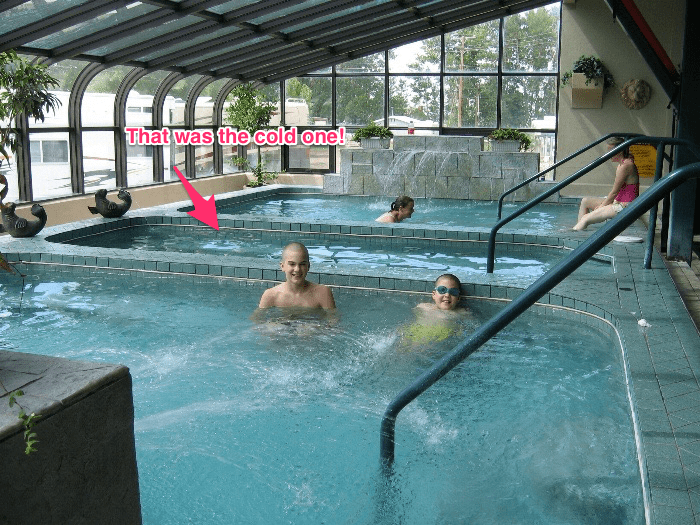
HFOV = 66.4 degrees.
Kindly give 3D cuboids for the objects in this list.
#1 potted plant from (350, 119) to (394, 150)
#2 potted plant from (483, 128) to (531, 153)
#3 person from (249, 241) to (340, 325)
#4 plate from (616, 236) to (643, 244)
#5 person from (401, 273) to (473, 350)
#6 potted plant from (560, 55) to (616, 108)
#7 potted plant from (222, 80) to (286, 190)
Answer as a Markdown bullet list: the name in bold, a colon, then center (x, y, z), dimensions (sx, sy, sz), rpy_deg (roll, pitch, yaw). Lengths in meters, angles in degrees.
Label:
- **potted plant**: center (0.599, -3.177, 13.388), dimensions (0.911, 0.495, 0.736), rpy_deg (1, 13, 4)
- **potted plant**: center (3.729, -2.817, 12.390), dimensions (0.862, 0.569, 0.634), rpy_deg (-9, 14, -35)
- **person**: center (-0.485, 0.167, 4.620), dimensions (0.696, 0.727, 0.474), rpy_deg (-2, 12, -1)
- **plate**: center (3.499, -0.283, 6.699), dimensions (0.322, 0.044, 0.452), rpy_deg (4, 12, 27)
- **person**: center (0.792, 0.460, 4.764), dimensions (0.518, 0.259, 0.712), rpy_deg (9, 35, 22)
- **potted plant**: center (5.946, -4.396, 12.864), dimensions (1.530, 1.111, 1.322), rpy_deg (-1, 24, 19)
- **potted plant**: center (-2.658, -3.485, 14.669), dimensions (1.336, 2.756, 1.194), rpy_deg (-3, 13, -5)
